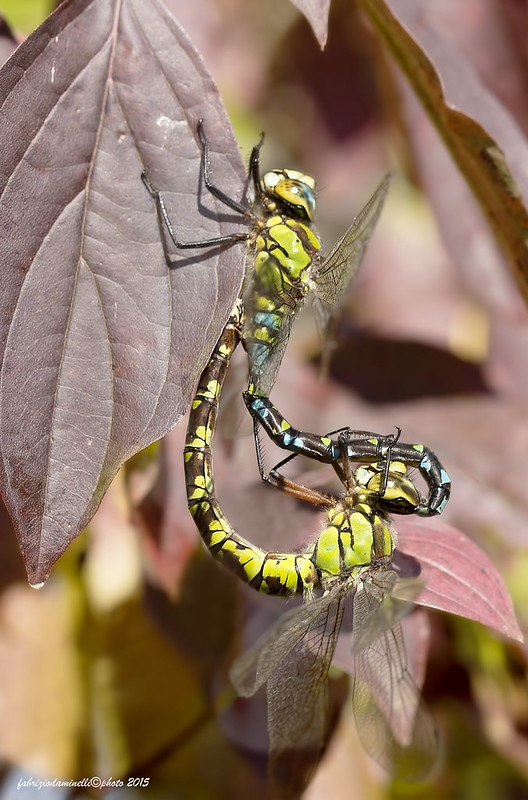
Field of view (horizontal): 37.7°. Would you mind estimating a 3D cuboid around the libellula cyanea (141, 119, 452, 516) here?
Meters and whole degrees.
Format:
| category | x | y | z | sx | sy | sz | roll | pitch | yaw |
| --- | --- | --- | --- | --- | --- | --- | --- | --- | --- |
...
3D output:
| category | x | y | z | sx | sy | sz | roll | pitch | yaw |
| --- | --- | --- | --- | --- | --- | --- | --- | --- | --- |
| libellula cyanea | 0.002 | -0.086 | 0.894 | 0.348 | 0.413 | 0.146 | 0 | 8 | -42 |
